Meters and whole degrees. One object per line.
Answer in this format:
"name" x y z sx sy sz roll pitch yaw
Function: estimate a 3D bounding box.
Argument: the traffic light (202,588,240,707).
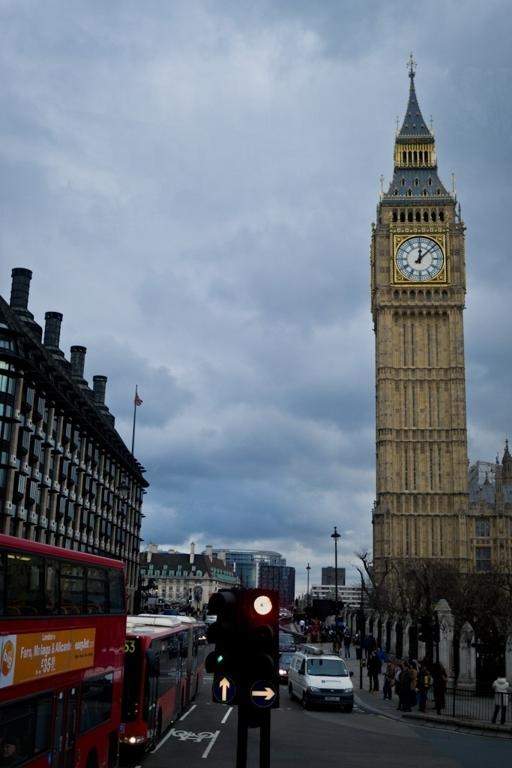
"traffic light" -0.398 3.012 11.012 0.383 1.298 0.471 3 -15 -8
